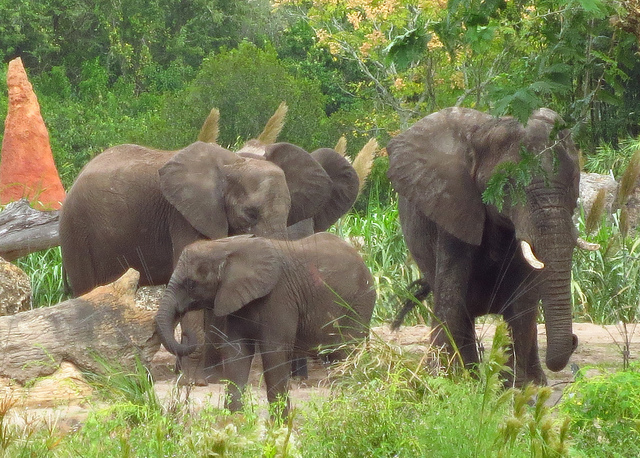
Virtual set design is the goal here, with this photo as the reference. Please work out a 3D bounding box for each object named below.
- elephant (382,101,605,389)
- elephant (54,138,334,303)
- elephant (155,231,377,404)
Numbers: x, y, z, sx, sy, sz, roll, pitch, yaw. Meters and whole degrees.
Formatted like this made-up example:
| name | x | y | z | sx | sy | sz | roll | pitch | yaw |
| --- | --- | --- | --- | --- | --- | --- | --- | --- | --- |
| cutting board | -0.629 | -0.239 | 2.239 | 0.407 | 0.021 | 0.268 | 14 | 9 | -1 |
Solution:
| name | x | y | z | sx | sy | sz | roll | pitch | yaw |
| --- | --- | --- | --- | --- | --- | --- | --- | --- | --- |
| elephant | 1.258 | 0.115 | 5.483 | 1.304 | 2.221 | 3.048 | -1 | -3 | 2 |
| elephant | -1.141 | 0.082 | 6.902 | 2.811 | 1.756 | 1.680 | 0 | 9 | 22 |
| elephant | -0.375 | 0.666 | 5.606 | 1.750 | 1.344 | 0.835 | -2 | 8 | -25 |
